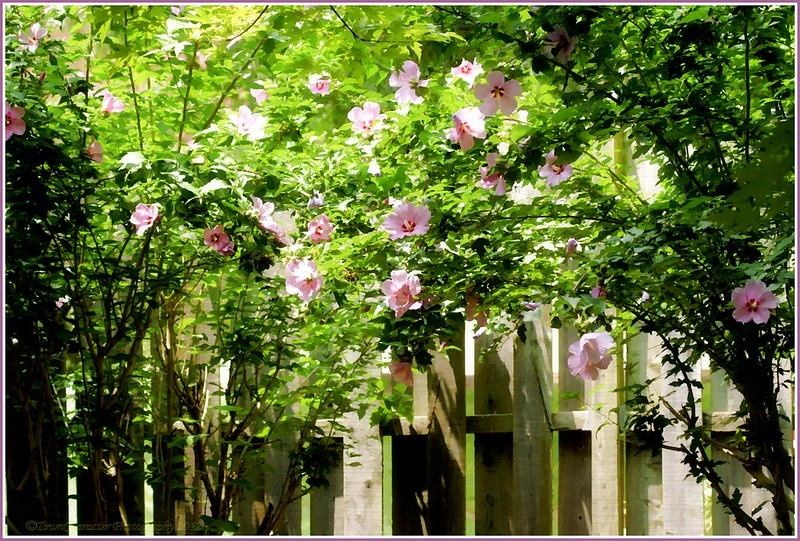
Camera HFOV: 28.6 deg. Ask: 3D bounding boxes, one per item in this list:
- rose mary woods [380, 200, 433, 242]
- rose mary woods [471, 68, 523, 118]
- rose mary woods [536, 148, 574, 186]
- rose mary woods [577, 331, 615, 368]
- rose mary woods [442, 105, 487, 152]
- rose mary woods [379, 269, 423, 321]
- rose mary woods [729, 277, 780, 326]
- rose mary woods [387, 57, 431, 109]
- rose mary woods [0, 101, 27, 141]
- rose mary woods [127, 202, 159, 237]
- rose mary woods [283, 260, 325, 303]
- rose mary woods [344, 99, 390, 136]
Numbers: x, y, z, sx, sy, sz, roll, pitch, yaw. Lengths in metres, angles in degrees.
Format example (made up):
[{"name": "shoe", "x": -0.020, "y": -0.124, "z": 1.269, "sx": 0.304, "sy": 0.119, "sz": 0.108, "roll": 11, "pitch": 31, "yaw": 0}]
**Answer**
[{"name": "rose mary woods", "x": 0.023, "y": -0.184, "z": 5.778, "sx": 0.153, "sy": 0.139, "sz": 0.075, "roll": 13, "pitch": 18, "yaw": 14}, {"name": "rose mary woods", "x": 0.353, "y": -0.642, "z": 5.636, "sx": 0.172, "sy": 0.171, "sz": 0.031, "roll": -16, "pitch": -20, "yaw": 9}, {"name": "rose mary woods", "x": 0.587, "y": -0.377, "z": 5.815, "sx": 0.098, "sy": 0.102, "sz": 0.035, "roll": -5, "pitch": -44, "yaw": 11}, {"name": "rose mary woods", "x": 0.706, "y": 0.293, "z": 5.689, "sx": 0.123, "sy": 0.129, "sz": 0.201, "roll": -6, "pitch": -15, "yaw": 6}, {"name": "rose mary woods", "x": 0.238, "y": -0.528, "z": 5.885, "sx": 0.168, "sy": 0.171, "sz": 0.164, "roll": -8, "pitch": -15, "yaw": 13}, {"name": "rose mary woods", "x": 0.005, "y": 0.083, "z": 5.794, "sx": 0.145, "sy": 0.169, "sz": 0.133, "roll": -4, "pitch": -15, "yaw": -1}, {"name": "rose mary woods", "x": 1.214, "y": 0.106, "z": 5.423, "sx": 0.154, "sy": 0.147, "sz": 0.062, "roll": -4, "pitch": 10, "yaw": 24}, {"name": "rose mary woods", "x": 0.035, "y": -0.706, "z": 5.904, "sx": 0.172, "sy": 0.159, "sz": 0.052, "roll": 5, "pitch": 16, "yaw": 40}, {"name": "rose mary woods", "x": -1.372, "y": -0.531, "z": 5.595, "sx": 0.071, "sy": 0.122, "sz": 0.117, "roll": 0, "pitch": -16, "yaw": -14}, {"name": "rose mary woods", "x": -0.931, "y": -0.197, "z": 5.785, "sx": 0.117, "sy": 0.103, "sz": 0.060, "roll": -27, "pitch": 0, "yaw": 19}, {"name": "rose mary woods", "x": -0.333, "y": 0.027, "z": 6.024, "sx": 0.155, "sy": 0.066, "sz": 0.165, "roll": 20, "pitch": -6, "yaw": 13}, {"name": "rose mary woods", "x": -0.135, "y": -0.606, "z": 6.224, "sx": 0.144, "sy": 0.121, "sz": 0.110, "roll": -3, "pitch": -15, "yaw": -3}]
